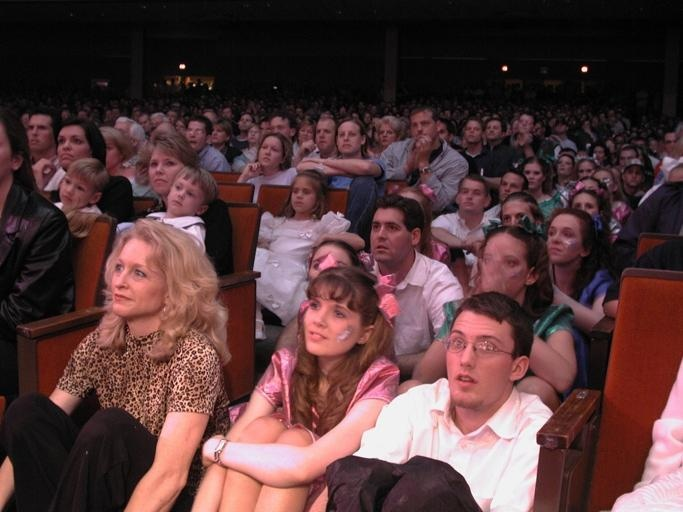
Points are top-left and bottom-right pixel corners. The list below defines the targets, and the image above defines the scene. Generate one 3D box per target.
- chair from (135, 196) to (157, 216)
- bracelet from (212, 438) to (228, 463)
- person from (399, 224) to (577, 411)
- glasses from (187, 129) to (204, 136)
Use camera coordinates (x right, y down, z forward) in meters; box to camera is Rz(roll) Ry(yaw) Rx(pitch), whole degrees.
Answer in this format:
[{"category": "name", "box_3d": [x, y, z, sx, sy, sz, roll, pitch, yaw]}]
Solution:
[{"category": "chair", "box_3d": [-1.362, -0.352, 3.604, 0.142, 0.148, 0.148, 2, 13, -5]}, {"category": "bracelet", "box_3d": [-0.375, 0.610, 1.623, 0.035, 0.068, 0.038, 13, 17, 43]}, {"category": "person", "box_3d": [0.613, 0.273, 2.327, 0.659, 0.906, 0.715, -1, -12, 43]}, {"category": "glasses", "box_3d": [-1.579, -1.335, 5.621, 0.088, 0.034, 0.094, 1, 0, 2]}]
